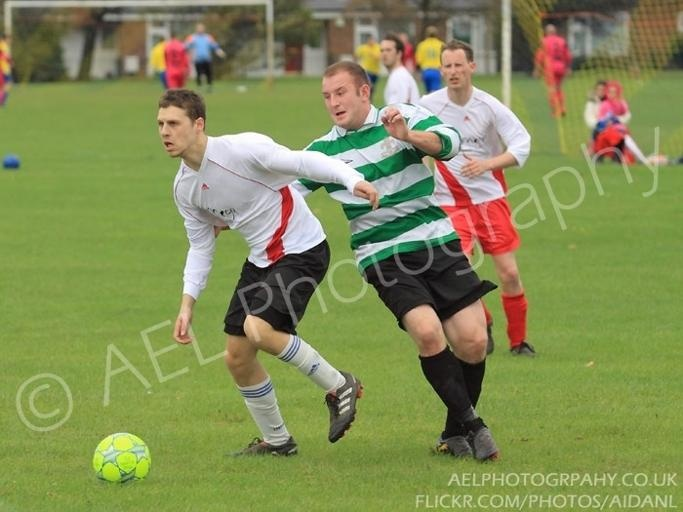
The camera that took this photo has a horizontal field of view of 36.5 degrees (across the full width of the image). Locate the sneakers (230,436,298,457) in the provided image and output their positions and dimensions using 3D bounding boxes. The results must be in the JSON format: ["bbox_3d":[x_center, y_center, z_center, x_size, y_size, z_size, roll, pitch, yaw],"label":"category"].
[{"bbox_3d":[-0.591,1.442,7.805,0.478,0.205,0.174,0,-4,2],"label":"sneakers"}]

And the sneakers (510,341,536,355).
[{"bbox_3d":[1.632,0.827,9.401,0.191,0.086,0.111,-4,8,21],"label":"sneakers"}]

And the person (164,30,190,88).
[{"bbox_3d":[-4.098,-4.794,25.391,0.622,1.313,1.268,-10,15,-8],"label":"person"}]

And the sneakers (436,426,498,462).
[{"bbox_3d":[0.939,1.392,7.748,0.494,0.231,0.180,-1,3,40],"label":"sneakers"}]
